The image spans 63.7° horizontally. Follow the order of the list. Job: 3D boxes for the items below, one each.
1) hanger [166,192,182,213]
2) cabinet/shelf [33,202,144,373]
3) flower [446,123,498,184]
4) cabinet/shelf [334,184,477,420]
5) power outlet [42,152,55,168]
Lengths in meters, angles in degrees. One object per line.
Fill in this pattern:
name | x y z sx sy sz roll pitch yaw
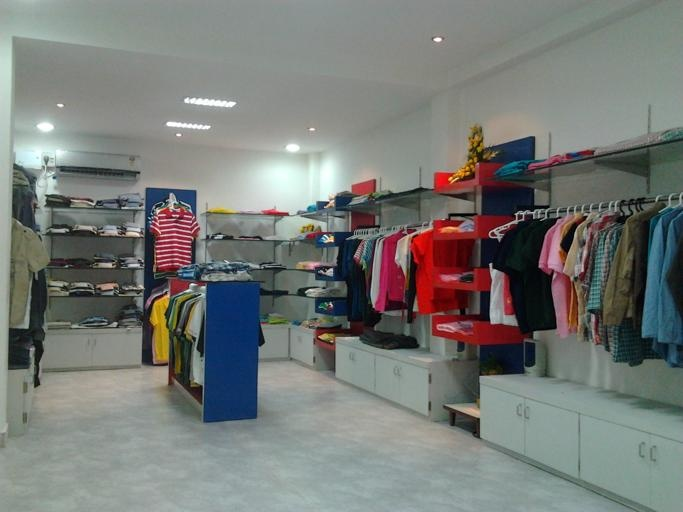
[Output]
hanger | -2.442 -0.795 8.006 0.162 0.272 0.101 -3 -2 -18
cabinet/shelf | -3.421 0.407 7.653 1.299 2.181 0.858 0 2 -21
flower | 1.198 -0.954 5.175 0.468 0.594 0.552 0 4 -38
cabinet/shelf | 0.839 0.741 6.375 0.696 2.036 2.164 22 -11 -23
power outlet | -4.071 -1.325 7.707 0.248 0.231 0.181 0 0 43
